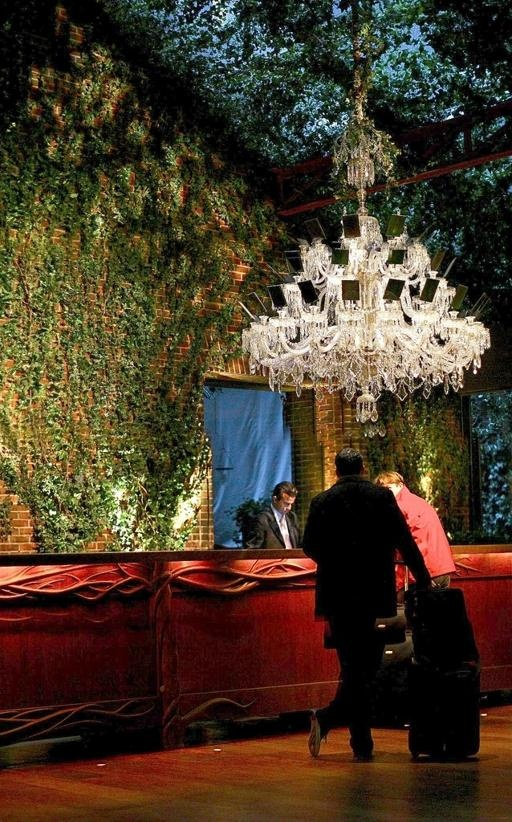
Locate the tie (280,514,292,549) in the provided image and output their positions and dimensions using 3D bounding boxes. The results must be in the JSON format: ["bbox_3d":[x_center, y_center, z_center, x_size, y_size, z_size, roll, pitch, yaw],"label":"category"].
[{"bbox_3d":[0.227,0.904,6.801,0.049,0.182,0.136,-7,-14,21],"label":"tie"}]

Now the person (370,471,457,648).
[{"bbox_3d":[0.824,0.617,4.586,0.311,0.723,0.237,-15,13,-2],"label":"person"}]

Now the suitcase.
[{"bbox_3d":[0.820,0.958,4.100,0.225,0.375,0.216,-8,-1,17],"label":"suitcase"}]

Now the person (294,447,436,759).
[{"bbox_3d":[0.450,0.839,3.961,0.370,1.343,0.518,0,-4,-40],"label":"person"}]
